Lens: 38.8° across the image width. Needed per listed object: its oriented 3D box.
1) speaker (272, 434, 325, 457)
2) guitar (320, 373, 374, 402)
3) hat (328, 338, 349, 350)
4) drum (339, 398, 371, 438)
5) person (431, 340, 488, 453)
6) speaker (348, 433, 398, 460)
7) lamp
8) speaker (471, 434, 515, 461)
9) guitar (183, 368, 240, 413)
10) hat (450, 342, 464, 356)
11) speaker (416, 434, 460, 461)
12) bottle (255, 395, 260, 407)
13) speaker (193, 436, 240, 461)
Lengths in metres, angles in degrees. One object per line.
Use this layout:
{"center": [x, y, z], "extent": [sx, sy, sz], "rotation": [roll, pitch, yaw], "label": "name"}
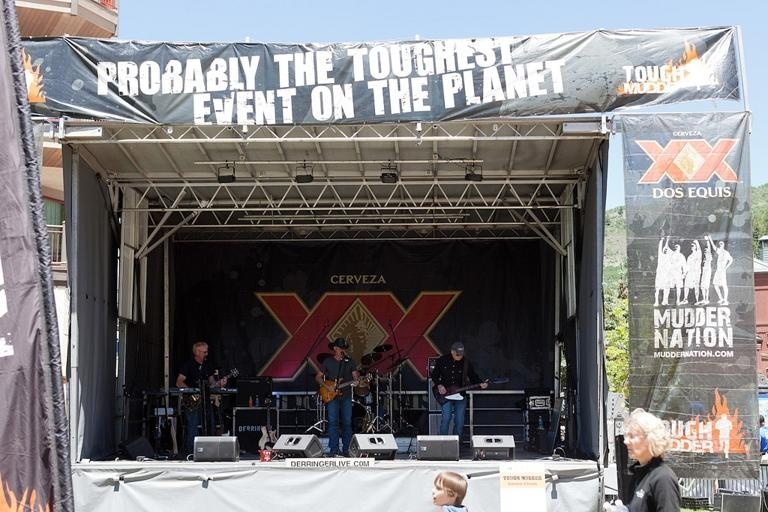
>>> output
{"center": [-1.328, 2.872, 16.504], "extent": [0.732, 0.347, 0.594], "rotation": [1, -11, -6], "label": "speaker"}
{"center": [-0.748, 2.453, 19.883], "extent": [0.910, 0.462, 0.569], "rotation": [2, -11, -11], "label": "guitar"}
{"center": [-0.932, 1.720, 21.264], "extent": [0.398, 0.148, 0.349], "rotation": [10, -14, -32], "label": "hat"}
{"center": [-0.463, 3.207, 21.612], "extent": [0.753, 0.728, 0.746], "rotation": [7, -10, -40], "label": "drum"}
{"center": [1.359, 2.501, 19.618], "extent": [0.234, 1.896, 0.829], "rotation": [1, -15, -44], "label": "person"}
{"center": [-0.177, 2.879, 16.527], "extent": [0.697, 0.377, 0.615], "rotation": [0, -11, -3], "label": "speaker"}
{"center": [-0.666, -1.428, 19.947], "extent": [4.812, 0.322, 0.635], "rotation": [0, -11, -1], "label": "lamp"}
{"center": [1.674, 2.919, 16.694], "extent": [0.620, 0.364, 0.487], "rotation": [0, -11, 0], "label": "speaker"}
{"center": [-3.377, 2.388, 20.143], "extent": [1.147, 0.611, 1.091], "rotation": [-5, 0, 10], "label": "guitar"}
{"center": [1.358, 1.699, 19.844], "extent": [0.209, 0.159, 0.273], "rotation": [2, 4, -8], "label": "hat"}
{"center": [0.804, 3.005, 16.535], "extent": [0.651, 0.408, 0.350], "rotation": [0, -14, 2], "label": "speaker"}
{"center": [-2.420, 2.724, 20.486], "extent": [0.089, 0.194, 0.027], "rotation": [-2, -11, 7], "label": "bottle"}
{"center": [-2.565, 2.900, 16.431], "extent": [0.656, 0.368, 0.205], "rotation": [1, -11, -9], "label": "speaker"}
